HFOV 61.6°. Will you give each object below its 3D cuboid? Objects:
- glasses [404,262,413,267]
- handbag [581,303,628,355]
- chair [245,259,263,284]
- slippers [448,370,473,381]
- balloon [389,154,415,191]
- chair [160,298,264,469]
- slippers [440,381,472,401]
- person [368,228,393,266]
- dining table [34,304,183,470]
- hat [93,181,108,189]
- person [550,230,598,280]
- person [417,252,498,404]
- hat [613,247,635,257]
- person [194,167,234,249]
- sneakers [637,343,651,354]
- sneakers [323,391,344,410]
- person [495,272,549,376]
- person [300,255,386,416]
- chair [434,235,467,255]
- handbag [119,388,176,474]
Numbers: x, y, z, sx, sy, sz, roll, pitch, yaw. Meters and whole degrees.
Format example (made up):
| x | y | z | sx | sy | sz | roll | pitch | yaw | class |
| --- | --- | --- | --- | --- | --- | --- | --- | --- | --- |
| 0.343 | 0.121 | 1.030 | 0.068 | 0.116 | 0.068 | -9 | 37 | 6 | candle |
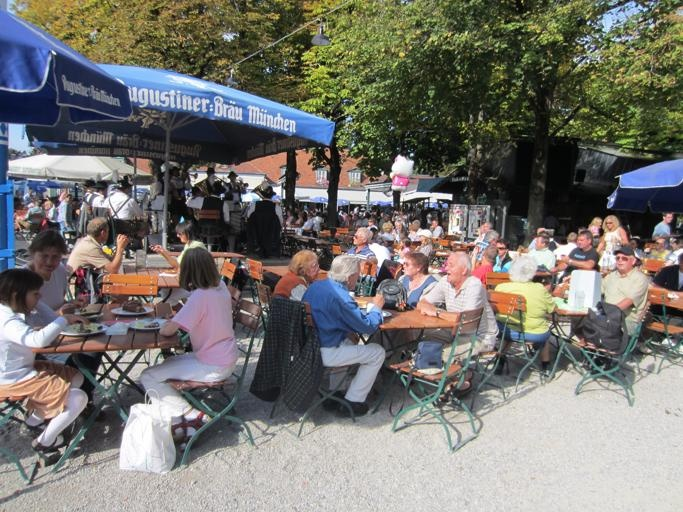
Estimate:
| x | y | z | sx | sy | sz | roll | pitch | yaw | class |
| --- | --- | --- | --- | --- | --- | --- | --- | --- | --- |
| 0.820 | 0.101 | 7.135 | 0.034 | 0.076 | 0.109 | -4 | 9 | -36 | glasses |
| 3.138 | 0.903 | 6.881 | 0.319 | 0.570 | 0.596 | -6 | 4 | -29 | handbag |
| -1.208 | 0.229 | 8.080 | 0.135 | 0.284 | 0.683 | -1 | 7 | -17 | chair |
| 1.276 | 1.304 | 6.251 | 0.277 | 0.099 | 0.199 | -5 | -7 | -22 | slippers |
| 1.764 | -2.477 | 16.975 | 0.517 | 0.987 | 1.518 | 2 | 7 | 2 | balloon |
| -1.279 | 1.179 | 6.324 | 1.244 | 1.818 | 1.302 | 0 | 6 | -30 | chair |
| 1.283 | 1.526 | 6.466 | 0.335 | 0.134 | 0.257 | -7 | -7 | -37 | slippers |
| 0.674 | -0.116 | 9.456 | 0.266 | 0.251 | 0.891 | -11 | 50 | 7 | person |
| -2.207 | 1.283 | 5.672 | 1.247 | 1.201 | 1.261 | 6 | 5 | -9 | dining table |
| -4.226 | -1.236 | 10.135 | 0.240 | 0.074 | 0.244 | 1 | 3 | 7 | hat |
| 4.076 | -0.062 | 9.946 | 0.544 | 0.756 | 1.825 | 4 | 7 | 17 | person |
| 1.338 | 0.803 | 6.845 | 1.055 | 1.615 | 0.822 | 1 | 13 | 14 | person |
| 4.313 | -0.051 | 8.773 | 0.318 | 0.104 | 0.199 | 15 | -10 | -35 | hat |
| -2.692 | -0.894 | 12.028 | 0.697 | 1.565 | 0.824 | -9 | 14 | 3 | person |
| 4.522 | 1.392 | 8.615 | 0.112 | 0.133 | 0.309 | -7 | 12 | 16 | sneakers |
| -0.082 | 1.611 | 6.311 | 0.190 | 0.096 | 0.264 | 10 | -23 | -24 | sneakers |
| 2.386 | 0.844 | 7.362 | 0.642 | 1.331 | 1.179 | 6 | 8 | 27 | person |
| 0.022 | 0.861 | 6.113 | 0.874 | 1.732 | 0.633 | 1 | 8 | -5 | person |
| 2.770 | -0.268 | 14.827 | 0.397 | 0.369 | 0.831 | -2 | 9 | -19 | chair |
| -1.769 | 1.644 | 5.282 | 0.613 | 0.740 | 0.412 | 6 | 5 | 0 | handbag |
